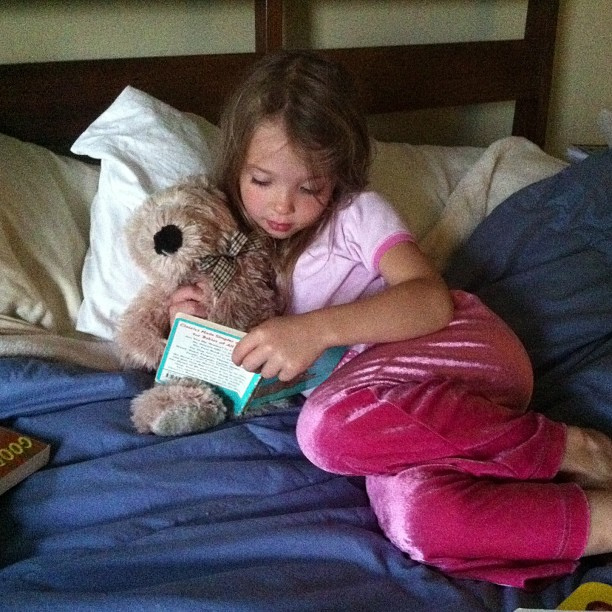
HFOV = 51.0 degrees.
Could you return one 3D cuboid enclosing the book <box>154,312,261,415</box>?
[{"bbox_3d":[-0.159,0.079,0.999,0.182,0.150,0.038,21,31,-3],"label":"book"}]
